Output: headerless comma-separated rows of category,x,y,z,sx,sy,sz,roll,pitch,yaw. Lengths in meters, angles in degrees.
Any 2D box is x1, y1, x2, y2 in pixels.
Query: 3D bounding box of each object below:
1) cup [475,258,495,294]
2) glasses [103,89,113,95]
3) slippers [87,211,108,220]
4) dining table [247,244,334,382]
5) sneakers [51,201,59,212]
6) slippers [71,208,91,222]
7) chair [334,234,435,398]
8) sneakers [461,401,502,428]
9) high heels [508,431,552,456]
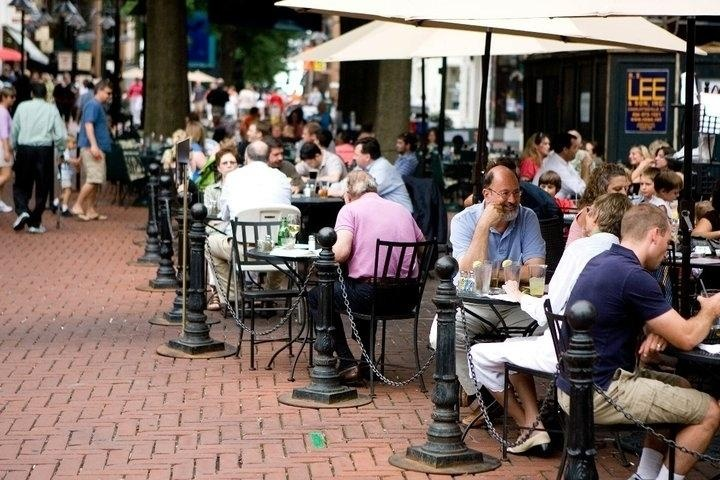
cup,1.024,0.304,8.731,0.155,0.259,0.174,-1,24,5
glasses,-4.808,-2.797,19.380,0.153,0.116,0.152,0,7,-9
slippers,-5.023,-0.452,19.499,0.347,0.262,0.125,-4,17,-20
dining table,-0.622,0.739,10.658,1.111,1.296,1.164,2,2,-2
sneakers,-5.779,-0.618,19.273,0.129,0.236,0.174,0,22,-18
slippers,-5.302,-0.456,19.330,0.319,0.146,0.106,26,-10,34
chair,0.249,0.690,10.063,0.966,1.364,0.863,-3,2,-37
sneakers,1.068,1.542,8.975,0.523,0.234,0.186,-1,-1,-18
high heels,1.340,1.688,8.434,0.494,0.221,0.186,-4,-6,32
